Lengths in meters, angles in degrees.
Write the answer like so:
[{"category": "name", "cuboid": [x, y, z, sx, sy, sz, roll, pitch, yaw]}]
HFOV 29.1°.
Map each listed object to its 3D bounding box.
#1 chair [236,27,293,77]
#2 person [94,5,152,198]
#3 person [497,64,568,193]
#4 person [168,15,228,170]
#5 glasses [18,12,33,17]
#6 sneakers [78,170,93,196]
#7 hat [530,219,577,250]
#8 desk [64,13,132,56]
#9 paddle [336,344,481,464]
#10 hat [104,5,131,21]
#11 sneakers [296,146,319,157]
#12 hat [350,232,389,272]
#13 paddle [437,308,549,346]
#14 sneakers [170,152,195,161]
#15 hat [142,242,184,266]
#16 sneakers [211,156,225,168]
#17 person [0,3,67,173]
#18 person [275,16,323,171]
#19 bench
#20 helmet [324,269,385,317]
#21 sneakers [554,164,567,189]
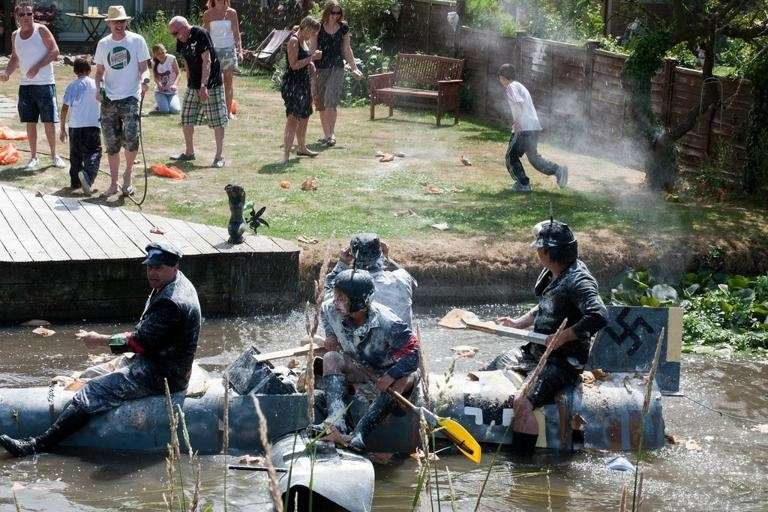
[{"category": "chair", "cuboid": [-2.534, -4.534, 32.692, 0.887, 0.917, 1.311, 19, 33, 41]}, {"category": "person", "cuboid": [-3.938, -2.284, 22.152, 0.789, 2.826, 0.606, 4, 12, 4]}, {"category": "person", "cuboid": [2.380, -2.086, 24.050, 1.153, 1.967, 1.054, 5, 12, 5]}, {"category": "person", "cuboid": [-2.959, -2.590, 23.531, 0.918, 2.384, 1.142, 2, 12, -6]}, {"category": "glasses", "cuboid": [-5.383, -3.627, 22.246, 0.224, 0.073, 0.122, -5, 15, -35]}, {"category": "sneakers", "cuboid": [-4.503, -1.108, 22.208, 0.137, 0.389, 0.160, 5, 25, 22]}, {"category": "hat", "cuboid": [2.108, -0.274, 18.496, 0.455, 0.270, 0.357, 5, 4, 12]}, {"category": "desk", "cuboid": [-6.904, -5.275, 34.420, 1.246, 0.850, 1.273, 3, 4, -5]}, {"category": "paddle", "cuboid": [0.459, 1.855, 17.168, 0.716, 0.687, 2.444, -3, 14, -25]}, {"category": "hat", "cuboid": [-3.955, -3.558, 21.878, 0.248, 0.228, 0.405, 2, 13, -8]}, {"category": "sneakers", "cuboid": [-1.312, -1.760, 25.008, 0.422, 0.195, 0.143, -4, 19, 5]}, {"category": "hat", "cuboid": [-0.194, -0.030, 18.529, 0.363, 0.269, 0.512, -12, 20, -19]}, {"category": "paddle", "cuboid": [1.314, 0.881, 18.460, 1.448, 0.113, 0.493, 14, 31, 27]}, {"category": "sneakers", "cuboid": [-3.279, -1.605, 24.118, 0.376, 0.116, 0.142, 2, 0, -14]}, {"category": "hat", "cuboid": [-2.675, -0.017, 17.998, 0.338, 0.169, 0.305, 5, -5, -44]}, {"category": "sneakers", "cuboid": [-2.701, -1.520, 23.987, 0.192, 0.156, 0.401, 0, 5, 5]}, {"category": "person", "cuboid": [-5.416, -2.634, 22.968, 0.868, 2.570, 1.104, 0, 13, -13]}, {"category": "person", "cuboid": [-1.356, -2.758, 24.404, 0.620, 2.369, 1.119, 3, 12, -2]}, {"category": "bench", "cuboid": [0.630, -3.310, 29.246, 1.835, 1.325, 0.883, 10, 13, 37]}, {"category": "helmet", "cuboid": [-0.389, 0.370, 17.779, 0.502, 0.447, 0.423, -21, 33, -36]}, {"category": "sneakers", "cuboid": [2.839, -1.300, 23.865, 0.159, 0.389, 0.163, 0, 18, 23]}]
